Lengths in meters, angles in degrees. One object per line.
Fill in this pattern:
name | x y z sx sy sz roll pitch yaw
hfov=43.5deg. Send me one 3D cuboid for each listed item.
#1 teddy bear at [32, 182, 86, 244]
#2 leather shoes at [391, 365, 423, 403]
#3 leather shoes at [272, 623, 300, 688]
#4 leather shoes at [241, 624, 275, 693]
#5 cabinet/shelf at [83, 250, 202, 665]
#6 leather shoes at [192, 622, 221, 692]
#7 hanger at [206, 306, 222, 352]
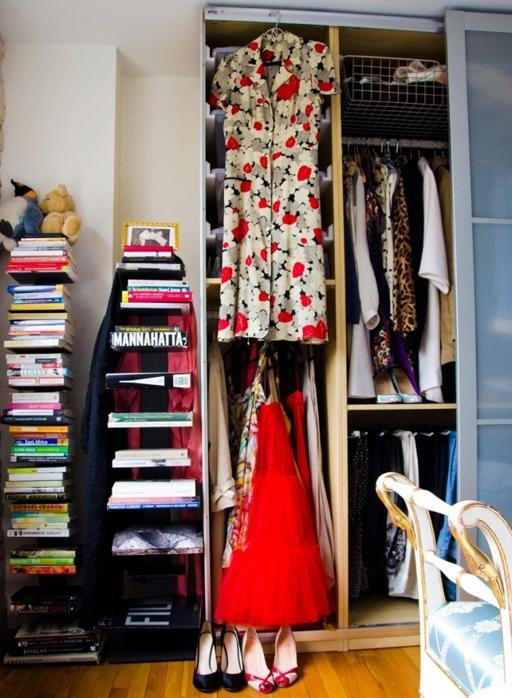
teddy bear | -0.736 -0.513 2.410 0.175 0.237 0.168 -2 2 2
leather shoes | 0.534 0.131 2.347 0.053 0.081 0.180 -7 34 -11
leather shoes | 0.090 0.949 1.993 0.053 0.054 0.181 -10 20 8
leather shoes | 0.002 0.962 1.988 0.089 0.109 0.244 -2 14 -6
cabinet/shelf | -0.377 0.334 2.113 0.441 1.310 0.532 -4 12 -17
leather shoes | -0.155 0.955 1.983 0.078 0.079 0.293 0 10 -3
hanger | -0.162 -0.087 2.379 0.078 0.133 0.036 -2 -3 -3
